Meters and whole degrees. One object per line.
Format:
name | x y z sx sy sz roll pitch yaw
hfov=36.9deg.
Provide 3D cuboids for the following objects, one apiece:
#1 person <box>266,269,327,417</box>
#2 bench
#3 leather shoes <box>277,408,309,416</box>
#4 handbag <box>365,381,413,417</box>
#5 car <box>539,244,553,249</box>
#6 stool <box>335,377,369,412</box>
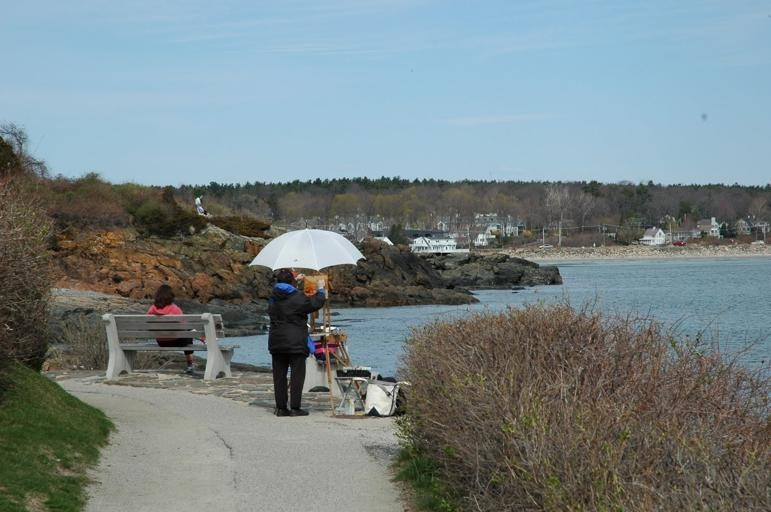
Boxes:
person | -1.473 1.419 18.788 0.860 1.894 0.769 -2 1 -6
bench | -4.130 1.723 21.578 2.190 1.099 1.128 -2 0 10
leather shoes | -1.509 2.544 18.587 0.495 0.213 0.170 1 -2 -20
handbag | -0.037 2.320 18.255 0.774 0.623 0.626 2 -3 19
car | 23.877 -1.424 172.892 2.361 0.822 1.093 3 -1 -23
stool | -0.588 2.184 19.570 0.484 0.678 0.576 -2 23 -8
